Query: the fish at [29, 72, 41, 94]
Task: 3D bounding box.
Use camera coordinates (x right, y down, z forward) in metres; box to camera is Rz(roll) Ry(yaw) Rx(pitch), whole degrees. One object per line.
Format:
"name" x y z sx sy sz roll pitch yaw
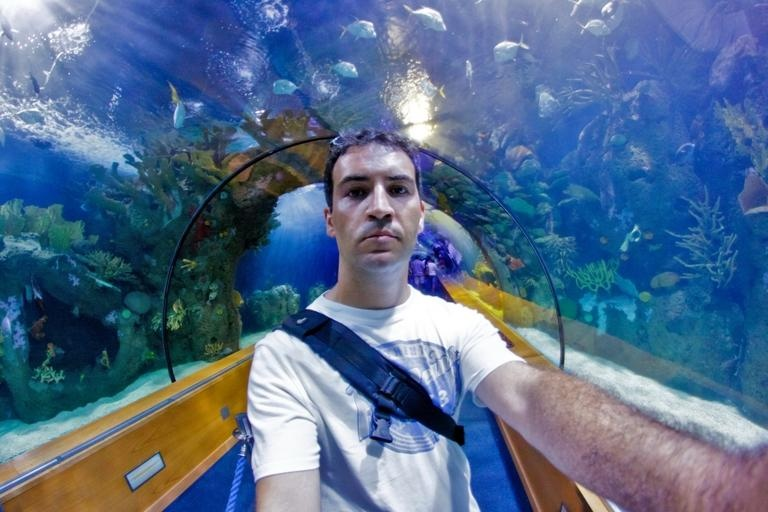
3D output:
"fish" -11.727 -5.696 15.488 0.345 0.821 0.150 4 21 20
